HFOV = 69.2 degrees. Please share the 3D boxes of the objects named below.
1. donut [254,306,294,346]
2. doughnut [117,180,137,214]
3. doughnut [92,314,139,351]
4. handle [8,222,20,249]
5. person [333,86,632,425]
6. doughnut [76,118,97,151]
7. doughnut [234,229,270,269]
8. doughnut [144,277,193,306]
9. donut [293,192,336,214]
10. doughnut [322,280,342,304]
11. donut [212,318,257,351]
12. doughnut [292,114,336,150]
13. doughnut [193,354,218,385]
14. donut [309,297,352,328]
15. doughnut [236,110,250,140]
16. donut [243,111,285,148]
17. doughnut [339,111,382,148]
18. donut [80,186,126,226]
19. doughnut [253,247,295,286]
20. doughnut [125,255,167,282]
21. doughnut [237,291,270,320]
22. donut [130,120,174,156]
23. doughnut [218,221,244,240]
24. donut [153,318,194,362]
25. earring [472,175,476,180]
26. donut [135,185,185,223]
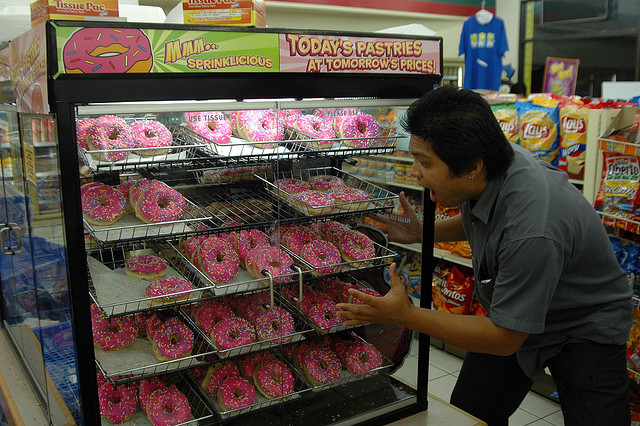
[{"bbox_3d":[-0.241,0.612,2.521,0.206,0.167,0.165,-5,16,-10],"label":"donut"},{"bbox_3d":[-0.955,-0.081,2.306,0.121,0.152,0.045,-3,-12,-23],"label":"doughnut"},{"bbox_3d":[-1.072,0.616,2.424,0.239,0.077,0.250,-8,37,-31],"label":"doughnut"},{"bbox_3d":[-1.871,0.140,2.841,0.033,0.152,0.151,-11,20,-42],"label":"handle"},{"bbox_3d":[0.901,0.268,2.166,1.231,1.678,0.487,0,16,6],"label":"person"},{"bbox_3d":[-1.054,-0.361,2.112,0.093,0.139,0.034,-10,17,-25],"label":"doughnut"},{"bbox_3d":[-0.382,0.182,2.543,0.193,0.193,0.063,13,-32,-40],"label":"doughnut"},{"bbox_3d":[-0.738,0.383,2.278,0.196,0.080,0.221,6,18,25],"label":"doughnut"},{"bbox_3d":[-0.029,-0.052,2.539,0.218,0.111,0.128,-8,17,-21],"label":"donut"},{"bbox_3d":[0.083,0.484,2.841,0.130,0.128,0.033,-12,-10,-23],"label":"doughnut"},{"bbox_3d":[-0.452,0.635,2.468,0.240,0.108,0.147,-10,18,-27],"label":"donut"},{"bbox_3d":[-0.012,-0.494,2.536,0.218,0.079,0.212,24,-35,-11],"label":"doughnut"},{"bbox_3d":[-0.620,0.850,2.495,0.174,0.173,0.055,-1,-21,1],"label":"doughnut"},{"bbox_3d":[0.050,0.571,2.646,0.175,0.058,0.179,27,37,17],"label":"donut"},{"bbox_3d":[-0.401,-0.463,2.365,0.039,0.115,0.119,-1,-3,5],"label":"doughnut"},{"bbox_3d":[-0.280,-0.416,2.378,0.179,0.178,0.053,-17,4,-22],"label":"donut"},{"bbox_3d":[0.229,-0.474,2.583,0.200,0.201,0.072,-1,1,-20],"label":"doughnut"},{"bbox_3d":[-1.029,-0.034,2.208,0.183,0.178,0.112,-11,18,-28],"label":"donut"},{"bbox_3d":[-0.255,0.285,2.509,0.249,0.084,0.250,-7,44,-32],"label":"doughnut"},{"bbox_3d":[-0.896,0.281,2.414,0.203,0.075,0.210,19,18,38],"label":"doughnut"},{"bbox_3d":[-0.415,0.518,2.687,0.169,0.169,0.040,12,-30,-13],"label":"doughnut"},{"bbox_3d":[-0.778,-0.351,2.168,0.186,0.163,0.172,-8,17,-20],"label":"donut"},{"bbox_3d":[-0.496,0.107,2.490,0.124,0.088,0.026,-4,-26,-7],"label":"doughnut"},{"bbox_3d":[-0.745,0.653,2.358,0.175,0.141,0.190,9,20,34],"label":"donut"},{"bbox_3d":[0.688,-0.160,2.059,0.017,0.004,0.017,33,68,21],"label":"earring"},{"bbox_3d":[-0.784,-0.049,2.278,0.228,0.154,0.167,-12,19,-30],"label":"donut"}]
